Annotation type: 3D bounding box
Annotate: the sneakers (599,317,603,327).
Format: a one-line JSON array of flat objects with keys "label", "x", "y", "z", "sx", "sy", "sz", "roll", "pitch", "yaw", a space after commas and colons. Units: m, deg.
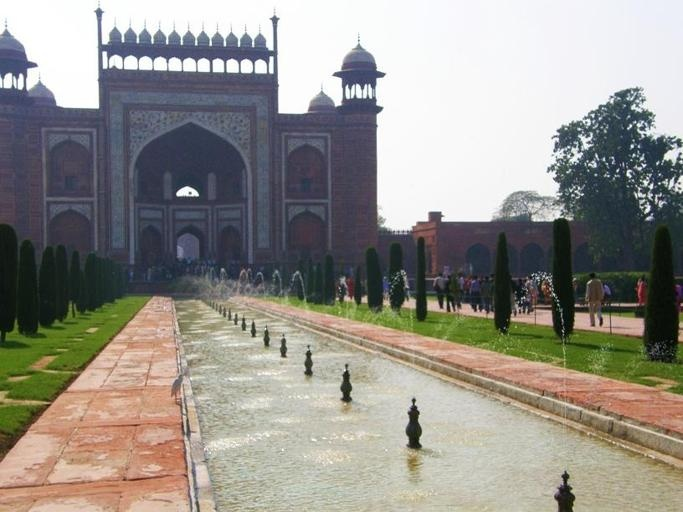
[{"label": "sneakers", "x": 5.533, "y": 1.406, "z": 18.109, "sx": 0.057, "sy": 0.177, "sz": 0.073, "roll": 2, "pitch": 23, "yaw": 5}]
